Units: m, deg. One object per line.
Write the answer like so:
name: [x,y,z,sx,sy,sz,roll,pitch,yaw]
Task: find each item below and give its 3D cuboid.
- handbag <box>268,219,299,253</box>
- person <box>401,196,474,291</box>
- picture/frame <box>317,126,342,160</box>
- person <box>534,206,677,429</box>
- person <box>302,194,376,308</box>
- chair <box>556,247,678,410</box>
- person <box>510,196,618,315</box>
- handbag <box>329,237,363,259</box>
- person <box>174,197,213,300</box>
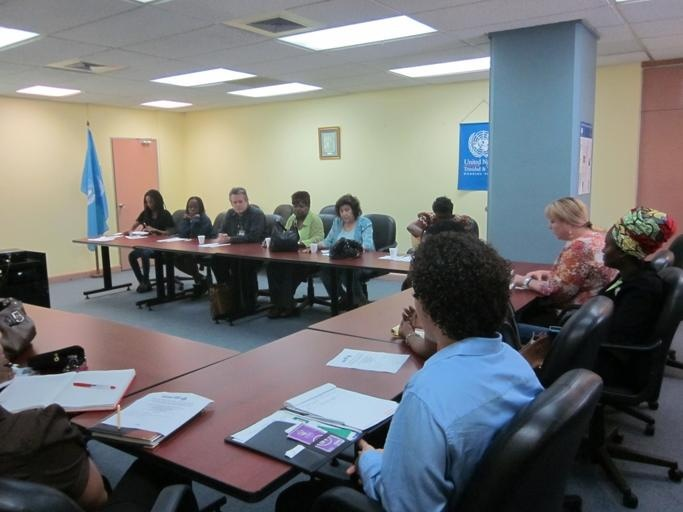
handbag: [-0.584,-0.190,5.075,0.309,0.287,0.301,-5,13,-10]
person: [0.921,-0.116,4.718,0.624,0.985,0.580,-7,30,-19]
picture/frame: [-0.170,-1.699,7.488,0.466,0.576,0.044,5,11,31]
person: [1.487,0.223,3.139,0.839,1.618,0.949,1,6,29]
person: [0.048,-0.010,5.189,0.674,1.213,0.715,-3,12,-18]
chair: [1.556,0.345,2.883,0.605,1.035,0.667,1,4,33]
person: [1.487,-0.020,3.350,0.707,0.693,0.499,-6,10,40]
handbag: [0.042,-0.068,4.631,0.226,0.102,0.190,-1,6,44]
person: [-1.810,-0.138,6.307,0.484,1.155,0.552,-5,-2,13]
